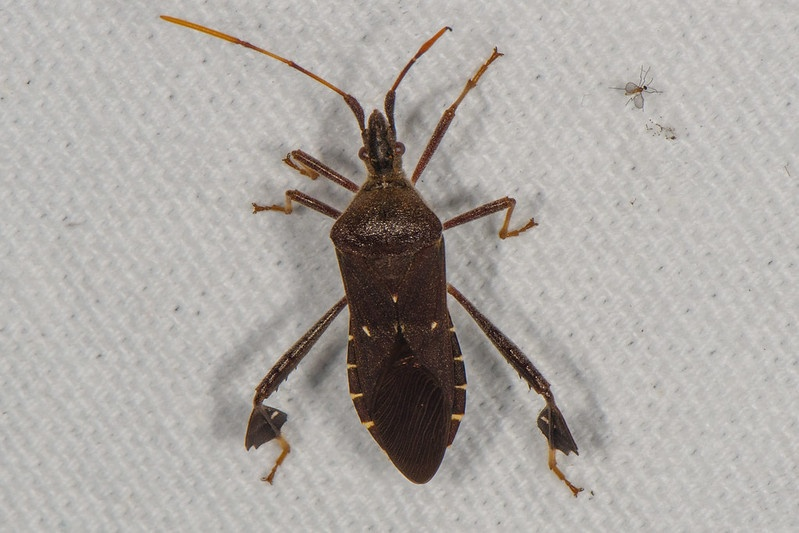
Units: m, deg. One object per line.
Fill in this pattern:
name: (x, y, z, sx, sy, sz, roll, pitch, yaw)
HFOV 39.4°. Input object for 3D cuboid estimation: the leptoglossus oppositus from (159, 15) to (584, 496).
leptoglossus oppositus: (-0.086, 0.067, 5.276, 1.983, 3.165, 0.639, 9, 37, 12)

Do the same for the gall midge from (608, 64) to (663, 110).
gall midge: (1.203, -0.888, 5.562, 0.206, 0.170, 0.041, -36, -6, -6)
